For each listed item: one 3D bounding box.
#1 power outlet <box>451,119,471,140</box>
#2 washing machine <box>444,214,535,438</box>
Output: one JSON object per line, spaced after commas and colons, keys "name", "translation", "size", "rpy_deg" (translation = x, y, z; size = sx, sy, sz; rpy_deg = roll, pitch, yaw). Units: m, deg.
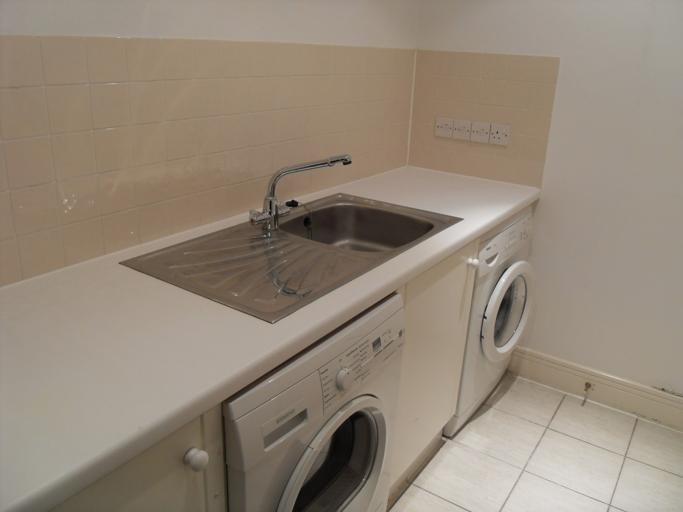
{"name": "power outlet", "translation": [0.663, -0.692, 2.562], "size": [0.121, 0.131, 0.090], "rpy_deg": [15, 30, 29]}
{"name": "washing machine", "translation": [0.687, 0.321, 2.140], "size": [0.446, 0.961, 0.537], "rpy_deg": [20, 45, 33]}
